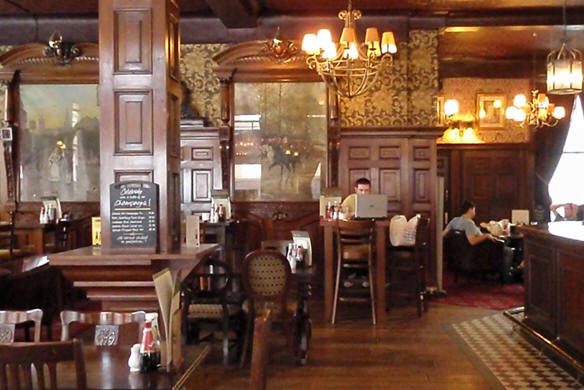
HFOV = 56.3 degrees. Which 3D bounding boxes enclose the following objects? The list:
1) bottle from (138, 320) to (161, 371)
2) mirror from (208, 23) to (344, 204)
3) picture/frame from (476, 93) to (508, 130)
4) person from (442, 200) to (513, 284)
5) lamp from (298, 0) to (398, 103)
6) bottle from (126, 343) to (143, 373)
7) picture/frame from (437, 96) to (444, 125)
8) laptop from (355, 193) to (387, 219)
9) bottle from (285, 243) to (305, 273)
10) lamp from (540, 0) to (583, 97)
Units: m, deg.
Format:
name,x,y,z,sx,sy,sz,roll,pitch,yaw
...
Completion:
name,x,y,z,sx,sy,sz,roll,pitch,yaw
bottle,-1.267,1.333,4.879,0.185,0.443,0.197,0,10,0
mirror,-0.193,-1.456,9.656,3.340,4.010,0.582,-1,0,-1
picture/frame,4.357,-1.816,11.882,0.842,1.008,0.113,0,-4,2
person,3.575,0.611,10.605,0.886,0.879,1.494,0,6,-17
lamp,0.810,-2.346,8.503,1.640,1.661,2.956,1,10,10
bottle,-1.412,1.441,4.885,0.118,0.224,0.199,-3,10,-17
picture/frame,3.253,-1.862,11.937,0.130,0.608,0.128,0,10,0
laptop,1.201,0.173,8.482,0.483,0.311,0.346,1,1,0
bottle,0.052,0.851,7.292,0.322,0.482,0.300,-1,-1,0
lamp,4.144,-2.332,8.304,0.447,1.568,2.646,4,11,25
